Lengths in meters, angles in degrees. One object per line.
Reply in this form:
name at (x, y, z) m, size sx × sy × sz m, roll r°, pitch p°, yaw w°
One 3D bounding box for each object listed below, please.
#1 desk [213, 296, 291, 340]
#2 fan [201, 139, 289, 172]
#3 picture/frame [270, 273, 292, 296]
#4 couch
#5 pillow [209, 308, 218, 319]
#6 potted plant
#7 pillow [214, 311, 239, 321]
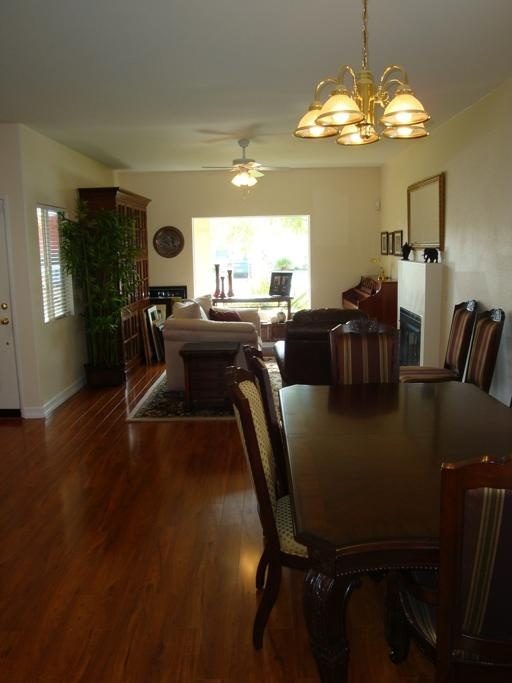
desk at (0.002, -0.355, 8.578) m, size 1.325 × 0.902 × 0.509 m, roll -2°, pitch 14°, yaw 6°
fan at (-0.118, -2.238, 6.163) m, size 0.861 × 0.352 × 0.863 m, roll -1°, pitch 3°, yaw -1°
picture/frame at (0.437, -1.005, 8.531) m, size 0.335 × 0.429 × 0.027 m, roll 6°, pitch -2°, yaw 12°
couch at (-0.519, -0.033, 5.872) m, size 1.004 × 1.147 × 1.092 m, roll -2°, pitch 5°, yaw -5°
pillow at (-0.545, -0.358, 6.266) m, size 0.061 × 0.170 × 0.130 m, roll -8°, pitch 12°, yaw -42°
potted plant at (-1.837, -0.524, 5.926) m, size 0.840 × 2.205 × 0.724 m, roll -3°, pitch 8°, yaw -15°
pillow at (-0.371, -0.323, 6.256) m, size 0.165 × 0.074 × 0.175 m, roll 8°, pitch 15°, yaw 21°
